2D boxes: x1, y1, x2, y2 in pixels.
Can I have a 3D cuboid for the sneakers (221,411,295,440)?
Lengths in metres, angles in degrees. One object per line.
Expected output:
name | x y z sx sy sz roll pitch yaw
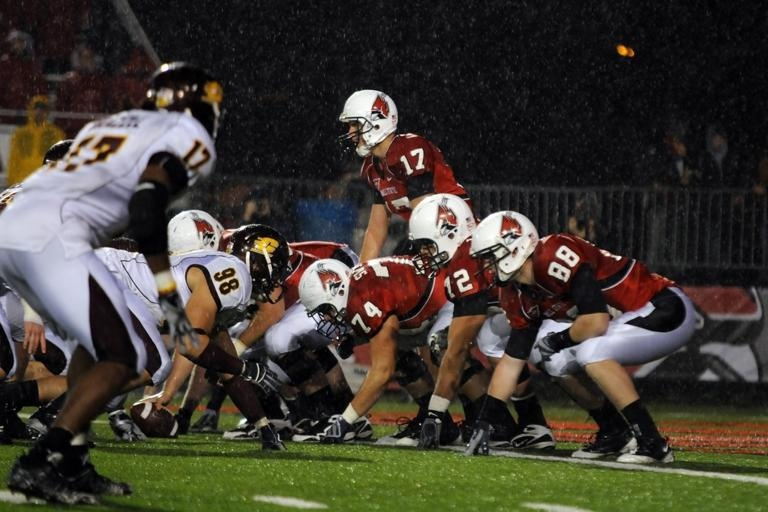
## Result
sneakers | -0.859 1.156 6.644 0.545 0.235 0.197 3 -6 1

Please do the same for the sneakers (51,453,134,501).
sneakers | -1.357 1.059 4.725 0.402 0.190 0.128 18 1 -18

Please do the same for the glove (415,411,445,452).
glove | 0.275 1.078 6.157 0.104 0.295 0.121 6 3 12

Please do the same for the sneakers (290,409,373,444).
sneakers | -0.316 1.127 6.534 0.613 0.254 0.208 2 -8 -3

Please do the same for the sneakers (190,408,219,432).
sneakers | -1.290 1.187 7.119 0.091 0.119 0.269 24 -11 -23

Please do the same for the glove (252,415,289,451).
glove | -0.707 1.102 6.119 0.192 0.213 0.079 -33 -2 37

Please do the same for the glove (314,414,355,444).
glove | -0.264 1.106 6.340 0.351 0.163 0.120 1 8 -17

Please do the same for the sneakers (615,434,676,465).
sneakers | 1.468 1.118 5.709 0.388 0.171 0.132 0 1 -3

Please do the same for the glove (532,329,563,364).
glove | 1.013 0.513 5.951 0.177 0.087 0.183 -31 7 32

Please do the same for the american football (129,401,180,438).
american football | -1.463 1.050 6.358 0.276 0.110 0.206 37 -7 9

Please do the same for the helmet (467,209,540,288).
helmet | 0.703 -0.060 5.866 0.399 0.373 0.376 1 -3 2

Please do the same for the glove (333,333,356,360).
glove | -0.257 0.604 6.606 0.108 0.122 0.239 4 -1 -1

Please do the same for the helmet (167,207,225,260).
helmet | -1.314 -0.145 6.930 0.280 0.309 0.377 -31 -26 14

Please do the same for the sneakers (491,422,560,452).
sneakers | 0.920 1.168 6.303 0.461 0.191 0.158 6 -8 -2

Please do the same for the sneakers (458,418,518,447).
sneakers | 0.660 1.143 6.347 0.334 0.165 0.192 8 -9 -31

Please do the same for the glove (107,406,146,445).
glove | -1.643 1.111 6.312 0.148 0.255 0.108 -36 8 -4
